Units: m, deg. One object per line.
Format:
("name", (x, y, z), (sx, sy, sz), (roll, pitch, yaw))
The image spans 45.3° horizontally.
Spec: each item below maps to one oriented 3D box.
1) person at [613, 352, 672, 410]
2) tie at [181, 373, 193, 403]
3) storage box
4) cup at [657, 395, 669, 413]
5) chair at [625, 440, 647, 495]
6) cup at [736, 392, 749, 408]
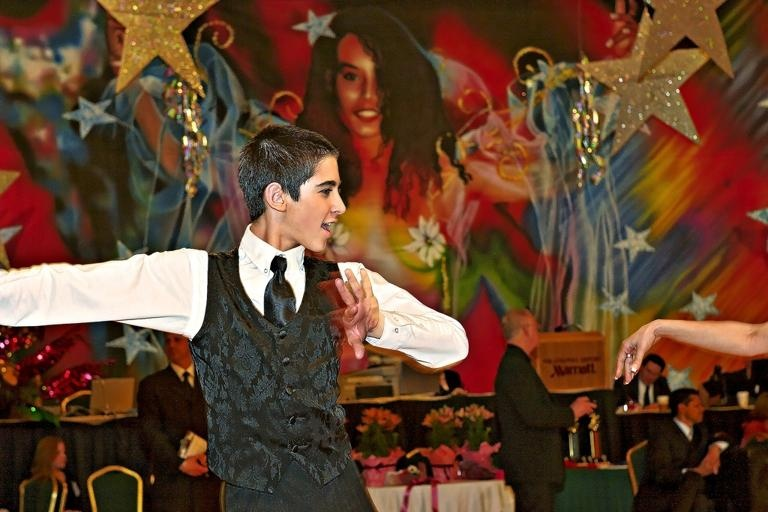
("person", (2.418, 1.216, 8.561), (0.562, 0.819, 0.277), (0, 3, -3))
("tie", (-1.790, 1.191, 8.430), (0.128, 0.197, 0.059), (-6, -16, 2))
("storage box", (1.732, 1.013, 8.766), (0.803, 0.809, 0.458), (-1, -5, -6))
("cup", (2.571, 1.377, 8.538), (0.121, 0.152, 0.131), (4, -14, 1))
("chair", (2.289, 1.909, 8.255), (0.236, 0.464, 0.113), (5, -6, -33))
("cup", (3.313, 1.324, 8.479), (0.117, 0.194, 0.123), (0, -3, 0))
